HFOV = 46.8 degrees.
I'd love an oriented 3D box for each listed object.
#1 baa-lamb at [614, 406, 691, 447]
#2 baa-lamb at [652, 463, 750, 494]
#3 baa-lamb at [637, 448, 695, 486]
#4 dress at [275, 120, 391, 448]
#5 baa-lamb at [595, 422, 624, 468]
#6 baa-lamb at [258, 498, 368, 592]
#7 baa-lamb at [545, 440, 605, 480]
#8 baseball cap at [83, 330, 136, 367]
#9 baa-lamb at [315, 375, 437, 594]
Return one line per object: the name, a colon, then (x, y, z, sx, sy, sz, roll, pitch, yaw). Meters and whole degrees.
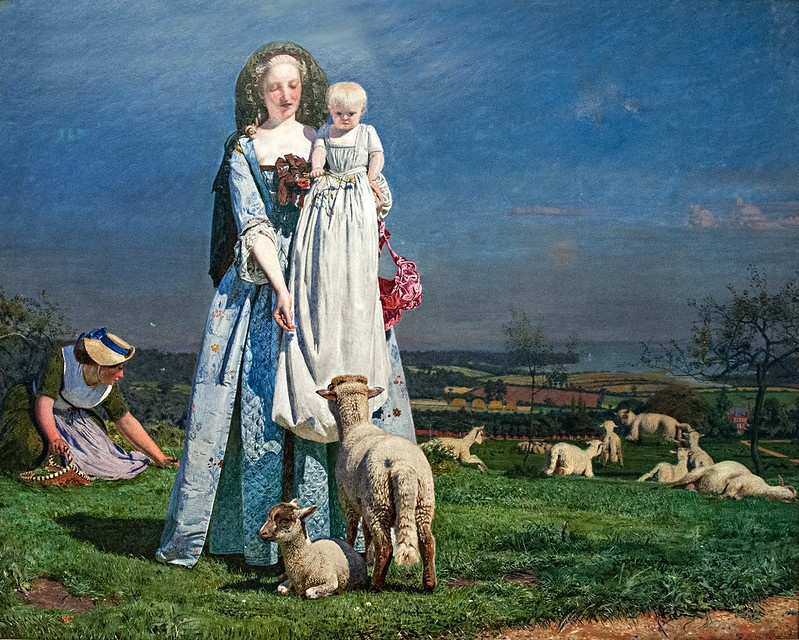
baa-lamb: (3.655, 1.536, 13.345, 1.022, 0.355, 0.339, 1, -8, 25)
baa-lamb: (3.497, 1.801, 10.397, 0.849, 0.348, 0.451, 1, 6, 18)
baa-lamb: (3.648, 1.963, 12.368, 0.875, 0.397, 0.328, -13, -5, 11)
dress: (-0.612, -0.339, 8.037, 0.997, 2.727, 0.665, -1, 6, -2)
baa-lamb: (3.041, 1.801, 13.307, 0.239, 0.400, 0.675, 0, 20, 6)
baa-lamb: (-0.737, 1.861, 7.443, 0.496, 0.710, 1.104, -12, -19, 38)
baa-lamb: (2.496, 1.993, 13.167, 0.897, 0.442, 0.398, -2, 6, -13)
baseball cap: (-3.183, 0.302, 9.924, 0.554, 0.421, 0.287, 0, 6, 9)
baa-lamb: (-0.132, 1.337, 7.360, 0.579, 1.679, 1.024, -4, 7, -29)
